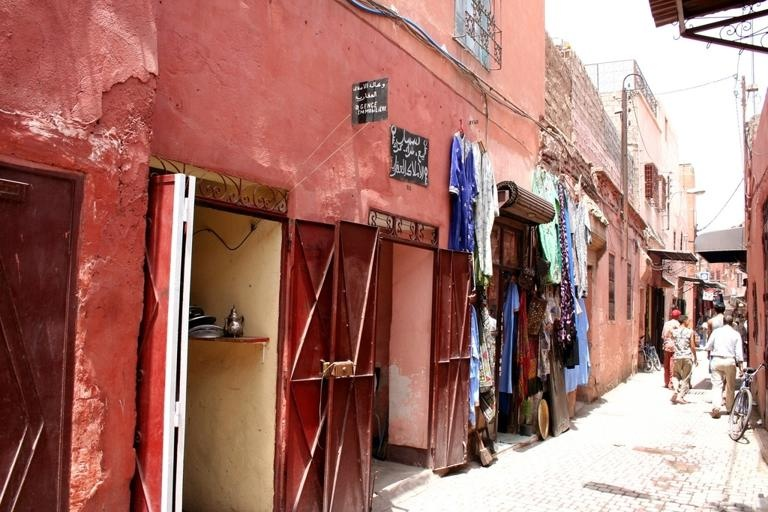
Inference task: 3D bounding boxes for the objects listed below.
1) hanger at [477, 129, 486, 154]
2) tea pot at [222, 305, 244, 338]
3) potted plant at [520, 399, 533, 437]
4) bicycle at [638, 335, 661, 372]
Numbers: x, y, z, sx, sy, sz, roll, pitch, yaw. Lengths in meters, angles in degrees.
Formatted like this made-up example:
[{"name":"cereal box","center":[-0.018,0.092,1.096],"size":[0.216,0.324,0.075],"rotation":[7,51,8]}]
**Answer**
[{"name":"hanger","center":[1.450,-1.686,9.171],"size":[0.078,0.332,0.304],"rotation":[2,2,-3]},{"name":"tea pot","center":[-1.406,0.681,6.064],"size":[0.180,0.325,0.303],"rotation":[-5,-18,16]},{"name":"potted plant","center":[2.440,2.728,10.477],"size":[0.214,0.600,0.457],"rotation":[-1,-3,17]},{"name":"bicycle","center":[9.423,3.478,21.972],"size":[0.644,1.208,1.372],"rotation":[-1,-4,25]}]
